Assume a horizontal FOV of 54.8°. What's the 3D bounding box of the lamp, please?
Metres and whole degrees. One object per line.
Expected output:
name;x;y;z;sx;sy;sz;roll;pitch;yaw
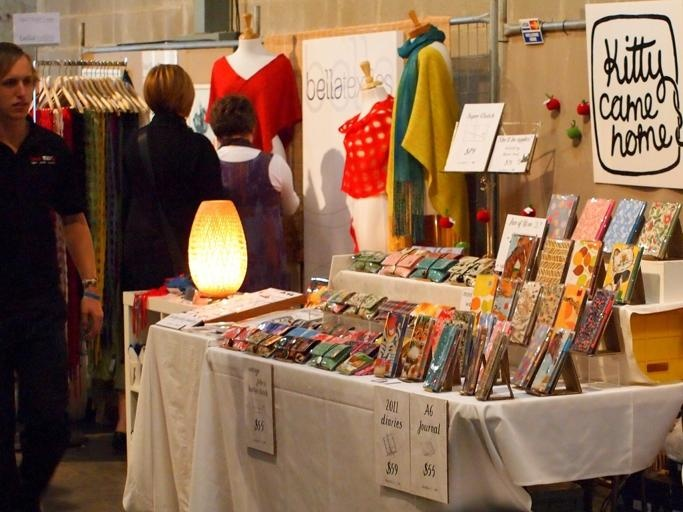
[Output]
lamp;-0.678;-0.056;3.575;0.270;0.539;0.289;-1;13;-16

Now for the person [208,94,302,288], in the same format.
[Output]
person;-0.483;-0.286;4.314;0.444;1.590;0.439;14;31;30
